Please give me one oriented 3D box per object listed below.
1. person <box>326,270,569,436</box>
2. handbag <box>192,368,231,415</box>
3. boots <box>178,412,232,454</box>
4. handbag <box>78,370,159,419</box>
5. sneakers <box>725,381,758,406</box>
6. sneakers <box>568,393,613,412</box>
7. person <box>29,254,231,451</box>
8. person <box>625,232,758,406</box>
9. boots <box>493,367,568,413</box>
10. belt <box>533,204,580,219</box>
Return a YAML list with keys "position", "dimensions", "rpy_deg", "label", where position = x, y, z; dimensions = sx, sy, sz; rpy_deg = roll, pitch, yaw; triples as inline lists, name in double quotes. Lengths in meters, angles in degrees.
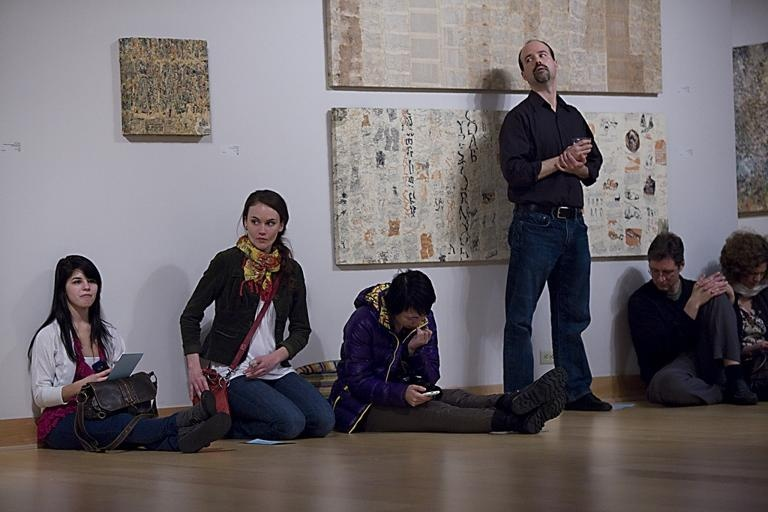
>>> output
- position: [0.307, 0.599, 3.341]
  dimensions: [1.323, 0.884, 0.580]
  rpy_deg: [-2, -4, 36]
  label: "person"
- position: [-0.929, 0.730, 3.173]
  dimensions: [0.072, 0.238, 0.095]
  rpy_deg: [-33, -13, 26]
  label: "handbag"
- position: [-0.885, 0.858, 2.893]
  dimensions: [0.211, 0.085, 0.146]
  rpy_deg: [-28, 12, -7]
  label: "boots"
- position: [-1.390, 0.723, 3.122]
  dimensions: [0.404, 0.234, 0.199]
  rpy_deg: [-3, -19, -46]
  label: "handbag"
- position: [2.313, 0.903, 3.904]
  dimensions: [0.110, 0.114, 0.225]
  rpy_deg: [1, -6, -23]
  label: "sneakers"
- position: [1.335, 0.965, 3.950]
  dimensions: [0.335, 0.144, 0.115]
  rpy_deg: [-4, -6, 20]
  label: "sneakers"
- position: [-1.423, 0.534, 3.304]
  dimensions: [1.126, 1.087, 0.513]
  rpy_deg: [-4, -3, 24]
  label: "person"
- position: [2.099, 0.441, 4.092]
  dimensions: [0.710, 1.052, 0.986]
  rpy_deg: [-11, 5, -2]
  label: "person"
- position: [0.772, 0.687, 3.090]
  dimensions: [0.392, 0.164, 0.188]
  rpy_deg: [-24, 8, -6]
  label: "boots"
- position: [1.110, -0.282, 3.786]
  dimensions: [0.340, 0.087, 0.071]
  rpy_deg: [-3, 5, -21]
  label: "belt"
